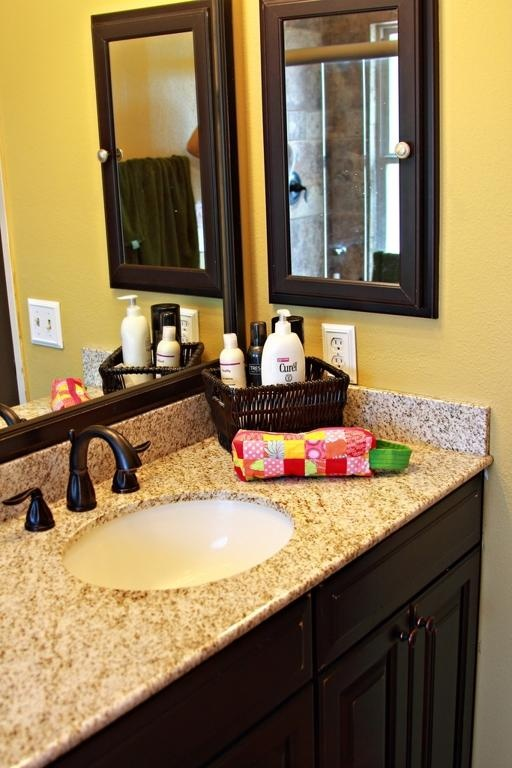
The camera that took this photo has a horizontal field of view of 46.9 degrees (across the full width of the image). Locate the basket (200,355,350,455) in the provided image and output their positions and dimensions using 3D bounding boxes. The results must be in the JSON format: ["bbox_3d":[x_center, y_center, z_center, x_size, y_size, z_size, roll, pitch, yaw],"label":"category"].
[{"bbox_3d":[0.036,0.008,1.137,0.220,0.141,0.180,-6,12,-20],"label":"basket"}]

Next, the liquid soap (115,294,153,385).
[{"bbox_3d":[-0.240,-0.090,1.158,0.051,0.167,0.047,14,20,29],"label":"liquid soap"}]

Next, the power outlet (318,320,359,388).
[{"bbox_3d":[0.173,-0.060,1.211,0.109,0.179,0.018,10,19,41],"label":"power outlet"}]

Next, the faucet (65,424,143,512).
[{"bbox_3d":[-0.220,0.124,0.934,0.114,0.136,0.129,-1,9,15],"label":"faucet"}]

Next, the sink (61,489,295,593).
[{"bbox_3d":[-0.117,0.259,0.920,0.326,0.117,0.152,-4,10,-15],"label":"sink"}]

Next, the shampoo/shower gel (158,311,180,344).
[{"bbox_3d":[-0.179,-0.112,1.221,0.048,0.090,0.050,-1,13,-15],"label":"shampoo/shower gel"}]

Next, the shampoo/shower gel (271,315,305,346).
[{"bbox_3d":[0.064,-0.113,1.224,0.060,0.076,0.064,-1,19,-3],"label":"shampoo/shower gel"}]

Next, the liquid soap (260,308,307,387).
[{"bbox_3d":[0.046,-0.071,1.151,0.086,0.162,0.062,-8,9,-38],"label":"liquid soap"}]
